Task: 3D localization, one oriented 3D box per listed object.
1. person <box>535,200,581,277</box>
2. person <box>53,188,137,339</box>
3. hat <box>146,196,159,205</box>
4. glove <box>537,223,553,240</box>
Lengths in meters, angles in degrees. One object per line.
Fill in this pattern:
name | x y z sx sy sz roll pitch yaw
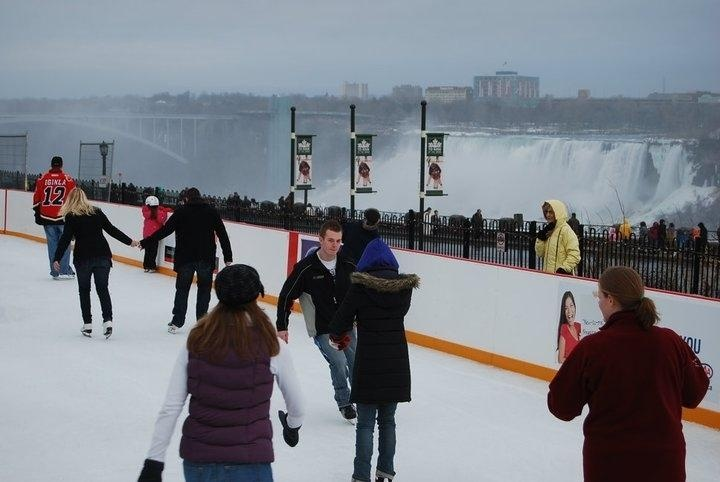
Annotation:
person | 3.039 -0.018 12.638 0.657 1.210 1.218 3 8 15
person | -4.356 0.373 13.365 1.058 2.462 1.007 -2 8 -23
hat | -4.791 -0.926 19.120 0.190 0.230 0.232 -6 17 -37
glove | 2.855 -0.154 12.672 0.075 0.264 0.161 14 14 -37
